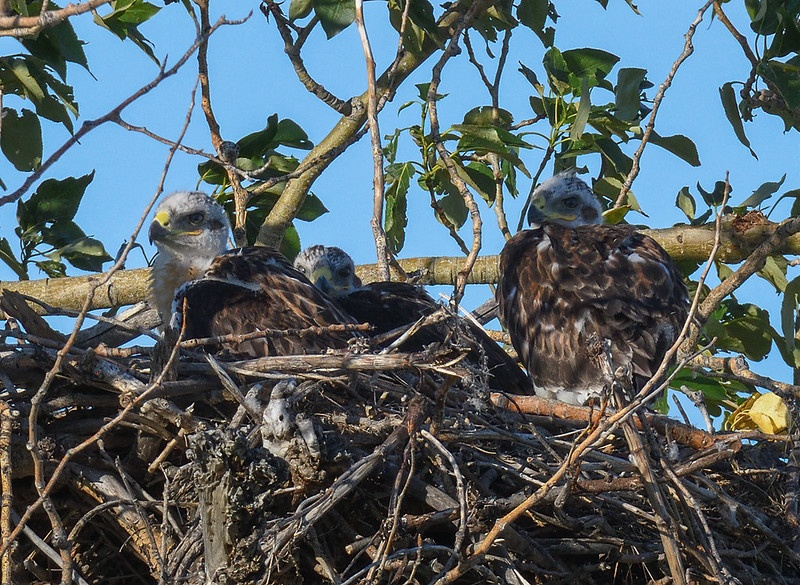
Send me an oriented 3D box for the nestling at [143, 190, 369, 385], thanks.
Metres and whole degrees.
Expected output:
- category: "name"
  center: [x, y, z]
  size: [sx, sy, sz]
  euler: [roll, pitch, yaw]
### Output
- category: "nestling"
  center: [-0.859, -0.066, 10.599]
  size: [1.393, 1.038, 1.166]
  euler: [1, -81, 0]
